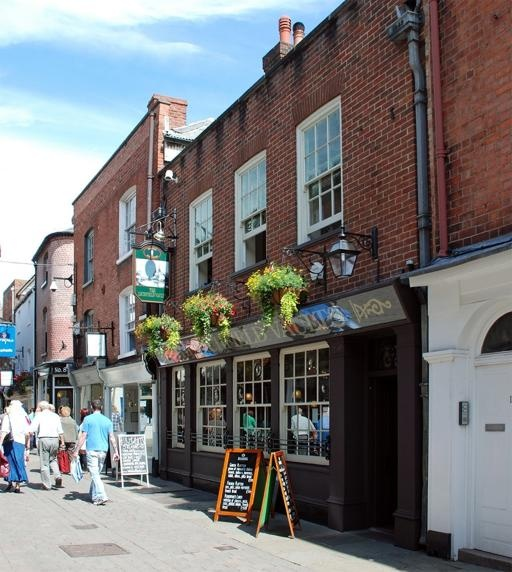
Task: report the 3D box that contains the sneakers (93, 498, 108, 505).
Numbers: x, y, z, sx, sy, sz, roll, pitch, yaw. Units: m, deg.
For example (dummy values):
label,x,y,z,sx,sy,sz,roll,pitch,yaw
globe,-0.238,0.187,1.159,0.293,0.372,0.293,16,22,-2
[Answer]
label,x,y,z,sx,sy,sz,roll,pitch,yaw
sneakers,-2.309,3.207,11.546,0.192,0.085,0.246,2,-13,-16

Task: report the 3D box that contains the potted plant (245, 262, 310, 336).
label,x,y,z,sx,sy,sz,roll,pitch,yaw
potted plant,0.317,0.213,10.727,0.815,1.003,0.775,-2,-3,40

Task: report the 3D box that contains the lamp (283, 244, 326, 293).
label,x,y,z,sx,sy,sz,roll,pitch,yaw
lamp,0.748,-0.291,10.660,0.534,0.871,0.514,4,-9,-25

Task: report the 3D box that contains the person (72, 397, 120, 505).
label,x,y,z,sx,sy,sz,roll,pitch,yaw
person,-2.437,2.526,11.913,0.646,1.587,0.889,1,-10,-11

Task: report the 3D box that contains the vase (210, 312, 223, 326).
label,x,y,z,sx,sy,sz,roll,pitch,yaw
vase,-0.633,0.520,12.281,0.247,0.204,0.132,-12,-15,42

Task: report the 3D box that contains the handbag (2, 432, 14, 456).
label,x,y,z,sx,sy,sz,roll,pitch,yaw
handbag,-4.169,2.677,13.095,0.104,0.346,0.210,-5,-8,37

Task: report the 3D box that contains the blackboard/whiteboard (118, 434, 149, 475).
label,x,y,z,sx,sy,sz,roll,pitch,yaw
blackboard/whiteboard,-2.224,2.992,14.274,0.524,0.522,0.845,1,-52,0

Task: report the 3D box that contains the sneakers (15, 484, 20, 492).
label,x,y,z,sx,sy,sz,roll,pitch,yaw
sneakers,-3.921,3.332,12.849,0.098,0.154,0.247,2,-12,-19

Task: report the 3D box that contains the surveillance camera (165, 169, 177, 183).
label,x,y,z,sx,sy,sz,roll,pitch,yaw
surveillance camera,-1.736,-2.231,15.713,0.205,0.356,0.111,-11,14,-4

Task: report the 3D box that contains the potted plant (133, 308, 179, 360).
label,x,y,z,sx,sy,sz,roll,pitch,yaw
potted plant,-1.816,0.882,14.926,0.685,0.786,1.275,4,-13,-27

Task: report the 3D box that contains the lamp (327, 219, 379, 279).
label,x,y,z,sx,sy,sz,roll,pitch,yaw
lamp,1.175,-0.430,9.280,0.496,0.751,0.267,7,-17,-14

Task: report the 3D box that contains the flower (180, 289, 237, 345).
label,x,y,z,sx,sy,sz,roll,pitch,yaw
flower,-0.770,0.500,12.589,0.694,0.903,0.780,-1,-6,-12

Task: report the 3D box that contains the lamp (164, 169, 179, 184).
label,x,y,z,sx,sy,sz,roll,pitch,yaw
lamp,-1.733,-2.217,15.786,0.238,0.397,0.265,-1,16,3
